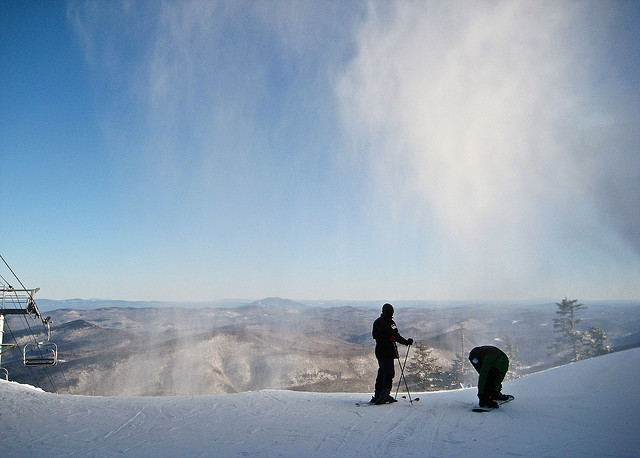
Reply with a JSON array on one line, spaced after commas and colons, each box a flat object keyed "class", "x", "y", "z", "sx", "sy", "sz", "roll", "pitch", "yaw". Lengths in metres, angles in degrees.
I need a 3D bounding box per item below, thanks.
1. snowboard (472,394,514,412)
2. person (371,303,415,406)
[{"class": "snowboard", "x": 5.442, "y": 5.395, "z": 11.576, "sx": 1.649, "sy": 0.327, "sz": 0.501, "roll": 1, "pitch": -10, "yaw": -41}, {"class": "person", "x": 2.314, "y": 4.204, "z": 12.697, "sx": 1.038, "sy": 3.341, "sz": 1.482, "roll": 1, "pitch": -12, "yaw": -6}]
